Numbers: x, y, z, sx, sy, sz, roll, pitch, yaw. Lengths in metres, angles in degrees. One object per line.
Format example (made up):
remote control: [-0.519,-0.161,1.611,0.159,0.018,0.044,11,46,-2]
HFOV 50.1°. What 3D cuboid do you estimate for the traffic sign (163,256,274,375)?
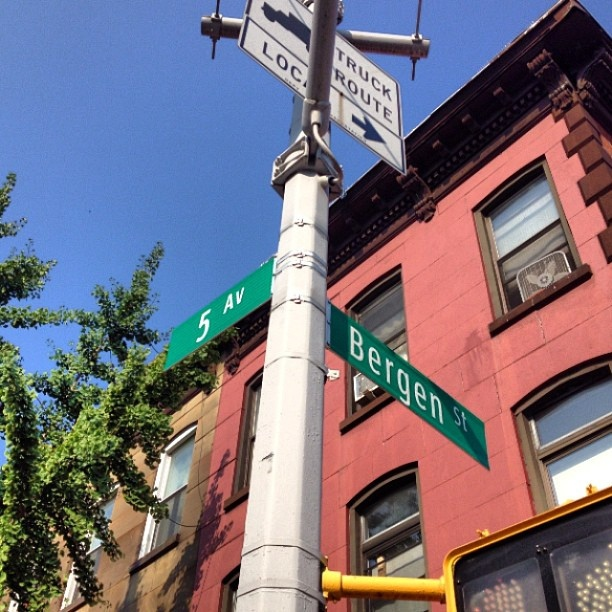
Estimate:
traffic sign: [-0.922,0.395,7.830,0.032,0.681,1.881,28,-57,-27]
